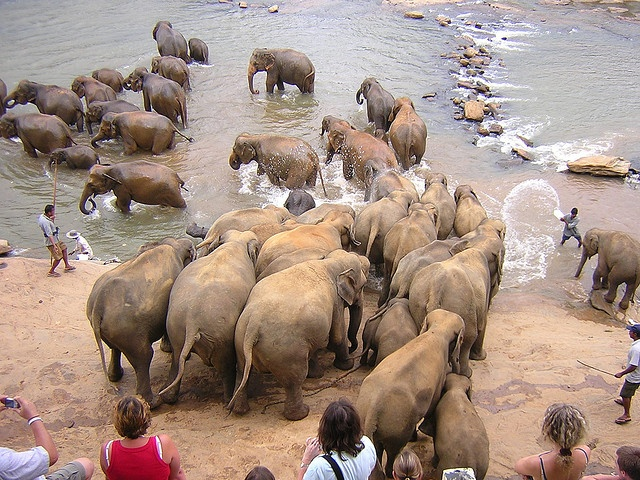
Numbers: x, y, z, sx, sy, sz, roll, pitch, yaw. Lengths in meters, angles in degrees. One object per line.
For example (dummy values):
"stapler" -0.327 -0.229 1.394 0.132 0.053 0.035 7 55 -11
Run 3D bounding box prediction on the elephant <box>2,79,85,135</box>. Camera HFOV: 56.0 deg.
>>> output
"elephant" -6.429 -3.049 14.047 1.948 1.109 0.785 26 39 3

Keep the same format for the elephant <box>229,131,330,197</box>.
"elephant" -0.722 -1.759 12.656 2.340 1.305 0.961 21 44 24

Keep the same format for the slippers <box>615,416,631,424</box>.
"slippers" 3.786 2.257 7.529 0.153 0.054 0.082 -10 58 4

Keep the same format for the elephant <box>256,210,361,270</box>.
"elephant" -0.144 -0.075 8.849 0.641 0.764 1.435 26 40 36

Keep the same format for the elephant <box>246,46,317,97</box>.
"elephant" -1.020 -4.456 16.148 1.923 1.314 0.956 13 53 7

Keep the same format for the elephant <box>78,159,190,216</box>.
"elephant" -3.461 -1.040 11.649 1.958 1.165 0.940 0 47 -7

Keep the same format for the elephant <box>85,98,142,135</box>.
"elephant" -4.898 -2.855 14.052 1.288 0.846 0.587 2 56 11

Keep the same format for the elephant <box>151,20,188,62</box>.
"elephant" -4.386 -5.715 17.823 0.672 1.006 1.803 -20 50 -16

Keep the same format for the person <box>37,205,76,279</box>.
"person" -4.497 0.088 10.288 0.508 1.266 0.554 -17 44 -25

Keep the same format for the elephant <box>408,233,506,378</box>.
"elephant" 1.948 0.631 8.459 0.807 1.388 2.280 15 38 23

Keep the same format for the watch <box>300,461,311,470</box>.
"watch" -0.153 2.297 6.124 0.078 0.063 0.080 14 22 6

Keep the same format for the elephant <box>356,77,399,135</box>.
"elephant" 1.385 -3.102 14.332 0.601 1.188 1.927 -8 44 -9

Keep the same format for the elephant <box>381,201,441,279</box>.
"elephant" 1.435 -0.040 9.369 0.509 0.822 1.570 15 43 24

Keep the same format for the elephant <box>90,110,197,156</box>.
"elephant" -3.838 -2.464 13.419 1.949 1.013 0.847 3 44 -2

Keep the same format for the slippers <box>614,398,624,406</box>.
"slippers" 3.843 2.078 7.743 0.041 0.050 0.115 -24 31 -5

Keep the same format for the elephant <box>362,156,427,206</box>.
"elephant" 1.267 -1.072 11.357 0.535 0.690 1.303 -14 41 -11
